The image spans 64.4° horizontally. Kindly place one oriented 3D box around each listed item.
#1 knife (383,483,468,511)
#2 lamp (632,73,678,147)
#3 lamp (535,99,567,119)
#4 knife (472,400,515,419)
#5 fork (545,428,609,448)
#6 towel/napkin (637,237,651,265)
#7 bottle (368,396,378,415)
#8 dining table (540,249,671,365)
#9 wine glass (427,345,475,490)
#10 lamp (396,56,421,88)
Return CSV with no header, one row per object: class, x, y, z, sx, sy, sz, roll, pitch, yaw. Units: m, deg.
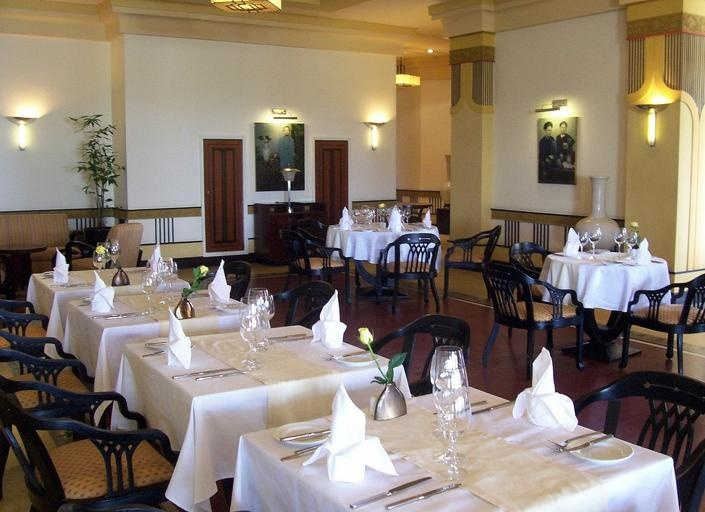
knife,0.244,0.820,1.914,0.298,0.016,0.041,-6,9,-25
lamp,4.106,-2.006,7.730,0.170,0.978,0.663,-7,9,-30
lamp,3.290,-2.506,9.370,0.105,0.212,0.643,-6,9,-28
knife,0.620,0.685,2.484,0.233,0.019,0.032,-6,29,-43
fork,0.894,0.736,2.213,0.274,0.016,0.083,-4,14,-35
towel/napkin,3.010,-0.051,5.804,0.128,0.239,0.307,2,9,28
bottle,0.098,0.669,2.489,0.058,0.066,0.055,-2,2,3
dining table,2.641,0.582,6.019,1.075,0.945,1.189,0,4,16
wine glass,0.365,0.549,2.089,0.136,0.471,0.307,-1,8,10
lamp,1.510,-5.156,15.475,0.616,1.060,2.475,-1,8,6
